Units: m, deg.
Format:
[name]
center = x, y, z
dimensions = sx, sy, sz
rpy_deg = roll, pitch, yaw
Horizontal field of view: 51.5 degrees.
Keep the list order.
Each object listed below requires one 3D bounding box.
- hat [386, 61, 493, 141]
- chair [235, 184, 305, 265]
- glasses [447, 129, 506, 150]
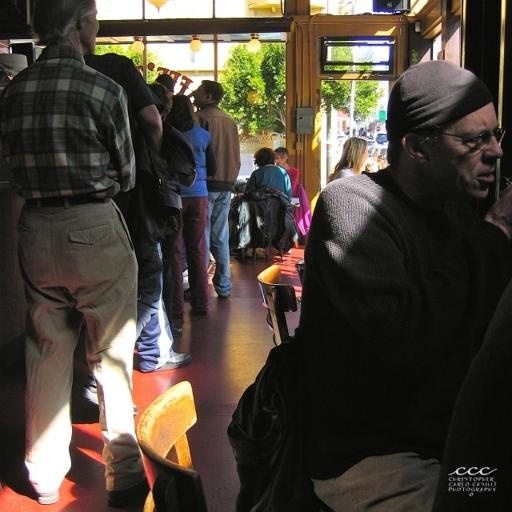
[hat]
center = 0.300, -0.249, 0.859
dimensions = 0.128, 0.094, 0.139
rpy_deg = -16, 19, 9
[chair]
center = 0.071, -0.419, 7.258
dimensions = 0.721, 1.015, 0.468
rpy_deg = 3, 19, -1
[glasses]
center = 0.379, -0.189, 0.880
dimensions = 0.066, 0.023, 0.071
rpy_deg = -9, 10, -27
